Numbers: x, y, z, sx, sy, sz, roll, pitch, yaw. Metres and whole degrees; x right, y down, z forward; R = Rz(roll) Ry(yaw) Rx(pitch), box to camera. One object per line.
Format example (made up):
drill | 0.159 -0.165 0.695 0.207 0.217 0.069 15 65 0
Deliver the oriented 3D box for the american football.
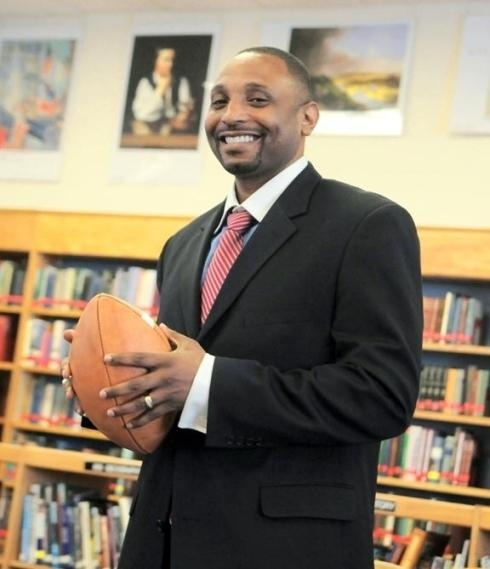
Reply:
american football | -0.217 0.153 1.142 0.199 0.281 0.135 6 -6 -6

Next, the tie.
tie | -0.047 -0.040 1.315 0.092 0.248 0.021 20 -28 26
